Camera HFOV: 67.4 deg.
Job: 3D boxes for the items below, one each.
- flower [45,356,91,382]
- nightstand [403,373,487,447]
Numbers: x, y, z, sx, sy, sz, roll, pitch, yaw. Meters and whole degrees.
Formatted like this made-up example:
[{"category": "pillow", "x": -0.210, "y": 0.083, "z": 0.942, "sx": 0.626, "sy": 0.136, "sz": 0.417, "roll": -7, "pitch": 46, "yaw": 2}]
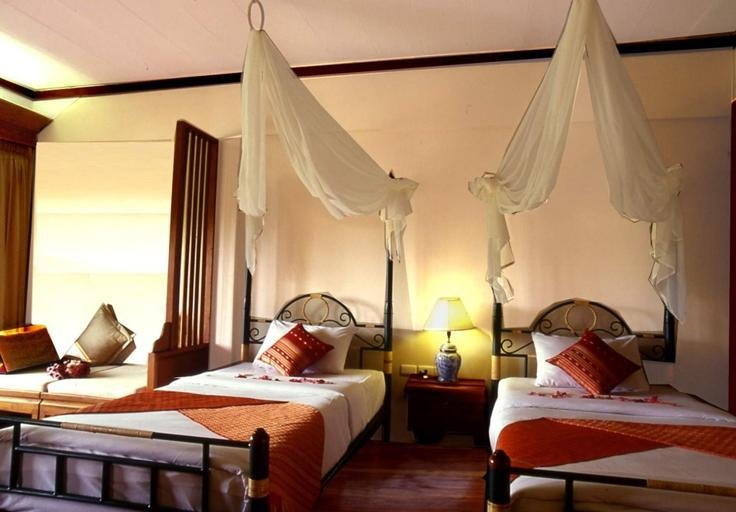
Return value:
[{"category": "flower", "x": -2.689, "y": 0.983, "z": 5.021, "sx": 0.255, "sy": 0.139, "sz": 0.285, "roll": 2, "pitch": 3, "yaw": 36}, {"category": "nightstand", "x": 0.717, "y": 1.264, "z": 4.989, "sx": 0.700, "sy": 0.520, "sz": 0.561, "roll": 0, "pitch": -3, "yaw": 10}]
